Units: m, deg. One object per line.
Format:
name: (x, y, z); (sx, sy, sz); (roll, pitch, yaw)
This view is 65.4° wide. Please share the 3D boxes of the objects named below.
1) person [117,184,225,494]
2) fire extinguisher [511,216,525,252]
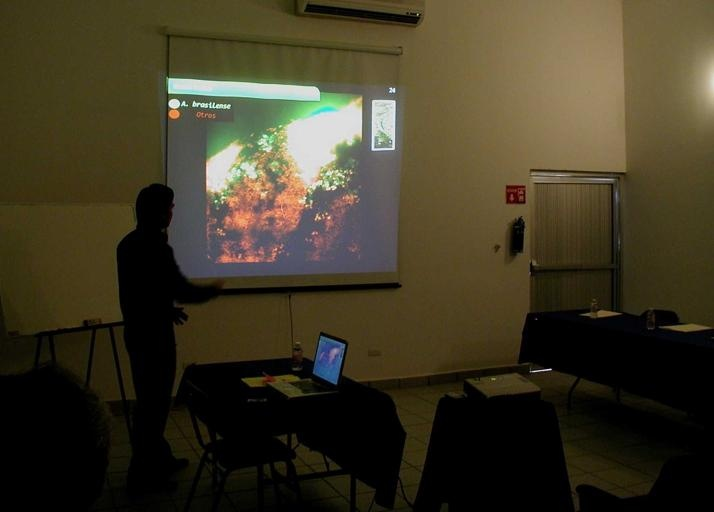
person: (-1.473, 0.563, 4.438); (0.713, 2.134, 0.632); (0, 0, -7)
fire extinguisher: (1.997, -0.257, 6.842); (0.235, 0.469, 0.111); (-3, 7, -33)
